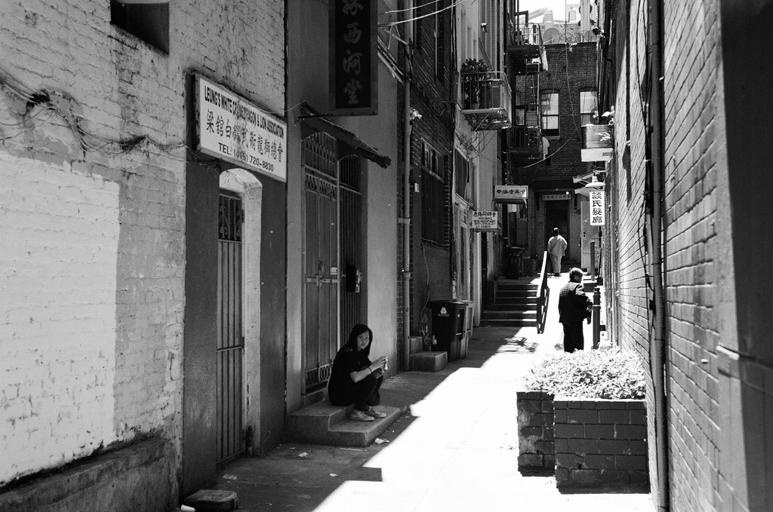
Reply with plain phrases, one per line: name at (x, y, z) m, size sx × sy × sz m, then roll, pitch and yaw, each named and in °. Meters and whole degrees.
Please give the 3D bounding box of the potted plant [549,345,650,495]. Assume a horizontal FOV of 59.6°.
potted plant at (2.455, 2.171, 7.826) m, size 0.946 × 0.894 × 1.993 m, roll -4°, pitch -13°, yaw 17°

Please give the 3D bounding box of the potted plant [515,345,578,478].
potted plant at (1.791, 1.784, 7.574) m, size 0.461 × 1.073 × 1.046 m, roll 2°, pitch 3°, yaw 0°

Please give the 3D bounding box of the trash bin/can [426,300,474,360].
trash bin/can at (1.548, 1.750, 16.120) m, size 1.041 × 1.389 × 0.909 m, roll -1°, pitch 0°, yaw -9°

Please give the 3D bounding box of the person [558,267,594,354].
person at (3.770, 1.083, 13.614) m, size 0.628 × 1.693 × 1.225 m, roll -1°, pitch 0°, yaw 16°

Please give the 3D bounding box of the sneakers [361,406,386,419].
sneakers at (-0.184, 2.216, 9.584) m, size 0.375 × 0.177 × 0.134 m, roll 7°, pitch 3°, yaw -14°

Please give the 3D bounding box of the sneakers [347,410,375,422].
sneakers at (-0.371, 2.186, 9.287) m, size 0.324 × 0.154 × 0.136 m, roll 1°, pitch -3°, yaw 15°

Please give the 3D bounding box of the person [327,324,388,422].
person at (-0.417, 1.606, 9.464) m, size 0.761 × 1.301 × 0.602 m, roll 0°, pitch 4°, yaw 2°
